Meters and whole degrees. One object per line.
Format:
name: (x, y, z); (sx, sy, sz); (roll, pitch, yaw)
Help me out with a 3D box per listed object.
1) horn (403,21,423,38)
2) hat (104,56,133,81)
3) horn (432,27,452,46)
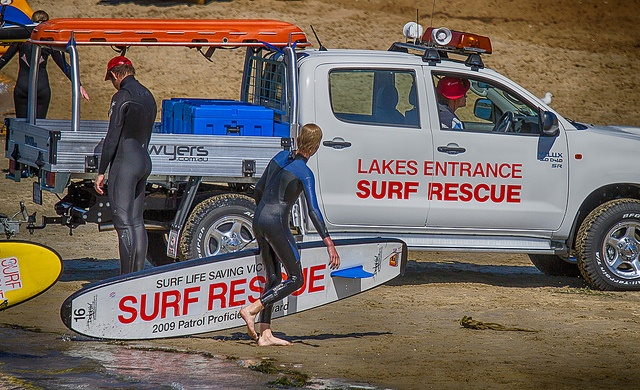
horn: (1.456, -2.599, 17.136); (0.323, 0.290, 0.078); (2, 13, -13)
hat: (-2.885, -1.808, 15.093); (0.449, 0.214, 0.306); (-13, -9, 13)
horn: (1.857, -2.432, 16.470); (0.276, 0.250, 0.196); (0, -10, 9)
